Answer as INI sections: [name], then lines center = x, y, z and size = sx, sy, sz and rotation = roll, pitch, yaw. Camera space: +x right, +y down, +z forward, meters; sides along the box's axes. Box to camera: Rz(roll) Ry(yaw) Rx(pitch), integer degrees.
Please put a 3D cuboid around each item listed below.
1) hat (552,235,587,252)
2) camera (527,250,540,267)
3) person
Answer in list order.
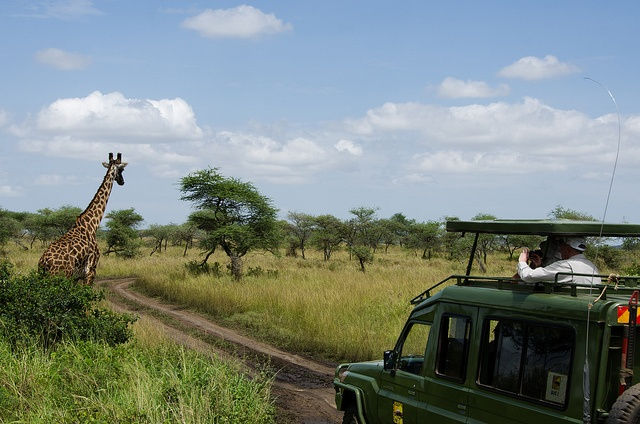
[hat]
center = 4.579, 0.546, 10.687
size = 0.338, 0.119, 0.253
rotation = 25, 11, 41
[camera]
center = 4.137, 0.906, 11.339
size = 0.111, 0.317, 0.337
rotation = 3, 0, -36
[person]
center = 4.485, 0.896, 10.969
size = 1.303, 0.984, 1.646
rotation = 3, 2, -38
